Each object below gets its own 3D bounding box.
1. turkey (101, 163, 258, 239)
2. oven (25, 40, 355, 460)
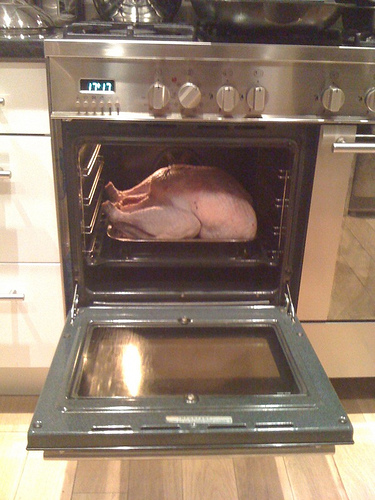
[{"bbox_3d":[-0.006,-0.163,1.278,0.443,0.366,0.189,0,-64,2],"label":"turkey"},{"bbox_3d":[0.005,-0.008,0.967,0.546,0.679,0.884,0,-68,-3],"label":"oven"}]
